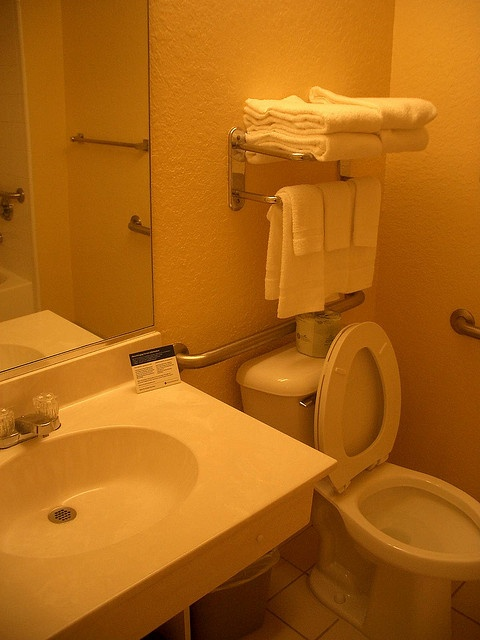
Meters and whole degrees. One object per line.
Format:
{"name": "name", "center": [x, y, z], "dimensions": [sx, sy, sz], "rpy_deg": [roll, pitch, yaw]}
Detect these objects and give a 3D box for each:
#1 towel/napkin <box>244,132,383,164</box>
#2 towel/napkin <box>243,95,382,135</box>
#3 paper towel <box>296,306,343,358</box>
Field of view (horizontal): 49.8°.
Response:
{"name": "towel/napkin", "center": [0.152, -0.407, 1.198], "dimensions": [0.172, 0.055, 0.168], "rpy_deg": [-19, 28, -41]}
{"name": "towel/napkin", "center": [0.158, -0.472, 1.194], "dimensions": [0.328, 0.094, 0.223], "rpy_deg": [2, 17, 13]}
{"name": "paper towel", "center": [0.206, 0.032, 1.526], "dimensions": [0.124, 0.127, 0.117], "rpy_deg": [-5, 19, -39]}
